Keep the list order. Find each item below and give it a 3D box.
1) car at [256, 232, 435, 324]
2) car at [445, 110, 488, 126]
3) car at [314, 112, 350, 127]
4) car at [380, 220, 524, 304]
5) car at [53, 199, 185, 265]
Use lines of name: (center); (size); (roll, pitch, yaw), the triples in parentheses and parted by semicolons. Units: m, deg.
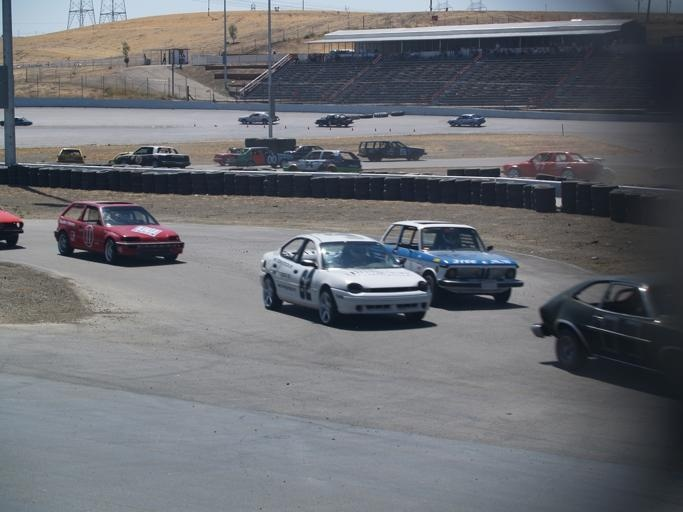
car: (-0.121, 0.307, 17.676); (1.527, 0.849, 2.615); (-2, 4, -32)
car: (8.952, -9.848, 74.261); (2.276, 0.675, 1.109); (5, 13, 20)
car: (-0.545, -10.334, 78.086); (2.344, 0.657, 1.225); (0, 6, -4)
car: (2.070, 0.046, 19.033); (1.349, 0.845, 2.441); (-1, 6, -21)
car: (-5.102, -0.568, 23.213); (1.522, 0.827, 2.596); (-3, 6, -40)
